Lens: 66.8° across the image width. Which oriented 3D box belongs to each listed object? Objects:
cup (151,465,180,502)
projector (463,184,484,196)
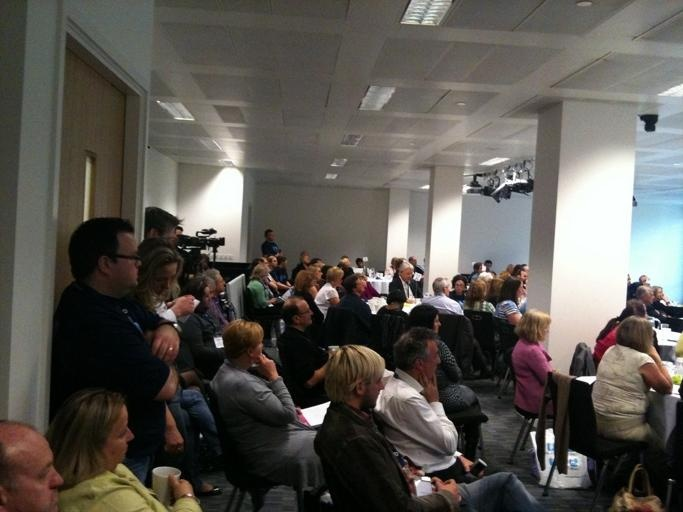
[{"bbox_3d":[-0.792,1.094,2.319,0.111,0.174,0.133,2,2,-17],"label":"cup"},{"bbox_3d":[3.624,-1.799,14.238,0.595,0.225,0.565,0,-1,-3],"label":"projector"}]
